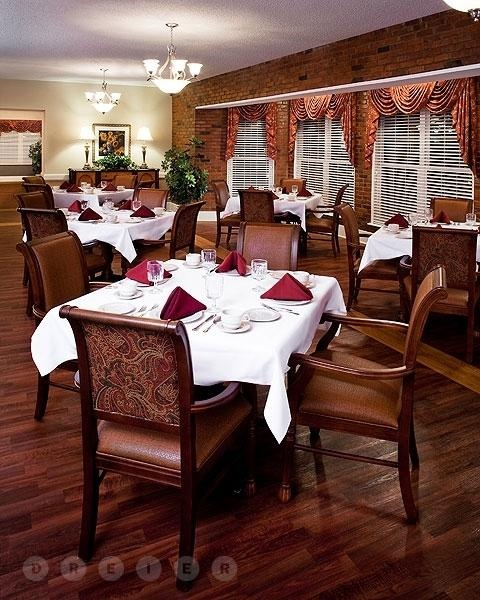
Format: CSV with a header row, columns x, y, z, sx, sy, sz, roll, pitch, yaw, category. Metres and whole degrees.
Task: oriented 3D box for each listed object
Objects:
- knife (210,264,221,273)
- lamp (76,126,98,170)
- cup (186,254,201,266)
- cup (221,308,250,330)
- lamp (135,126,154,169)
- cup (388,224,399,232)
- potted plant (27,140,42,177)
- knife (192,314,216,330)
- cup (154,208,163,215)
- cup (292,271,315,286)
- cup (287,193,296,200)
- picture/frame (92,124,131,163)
x,y,z,sx,sy,sz,roll,pitch,yaw,category
-0.136,-0.167,2.388,0.050,0.055,0.148,1,1,0,knife
-3.663,-3.675,10.790,0.387,0.991,0.749,-4,13,-17,lamp
-0.277,-0.231,2.570,0.072,0.052,0.073,1,6,0,cup
-0.020,0.069,1.575,0.065,0.040,0.088,1,-2,25,cup
-2.384,-3.809,11.254,0.414,1.012,0.675,-2,13,-10,lamp
1.428,-0.673,4.193,0.081,0.053,0.074,-3,15,1,cup
-5.109,-3.576,11.249,0.321,0.830,0.195,-2,13,-8,potted plant
-0.132,0.079,1.625,0.023,0.013,0.167,17,16,11,knife
-0.892,-0.971,4.903,0.096,0.066,0.096,1,0,0,cup
0.306,-0.108,2.220,0.068,0.061,0.098,-1,-1,12,cup
0.782,-1.580,6.842,0.152,0.131,0.110,2,5,2,cup
-3.227,-3.916,11.134,1.239,1.134,0.084,-3,12,-30,picture/frame
